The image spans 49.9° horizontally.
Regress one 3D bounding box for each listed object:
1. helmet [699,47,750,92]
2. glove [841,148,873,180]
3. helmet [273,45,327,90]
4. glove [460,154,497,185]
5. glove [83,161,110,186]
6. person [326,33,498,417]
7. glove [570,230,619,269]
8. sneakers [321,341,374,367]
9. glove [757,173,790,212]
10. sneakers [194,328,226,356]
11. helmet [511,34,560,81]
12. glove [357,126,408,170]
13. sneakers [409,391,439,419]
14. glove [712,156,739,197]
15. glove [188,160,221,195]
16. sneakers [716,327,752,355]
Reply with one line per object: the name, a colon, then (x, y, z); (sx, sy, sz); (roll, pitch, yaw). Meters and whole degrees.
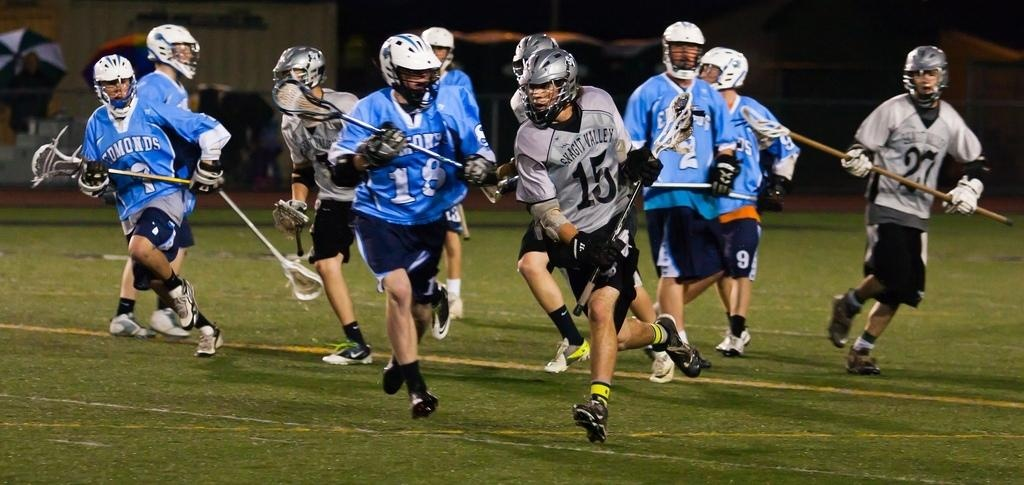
helmet: (2.548, -2.090, 13.490); (0.658, 0.395, 0.441); (4, 7, -19)
glove: (4.040, -0.945, 12.858); (0.350, 0.345, 0.312); (5, 8, 8)
helmet: (-2.565, -2.104, 13.273); (0.578, 0.414, 0.655); (5, 18, 26)
glove: (-0.327, -0.746, 11.535); (0.419, 0.187, 0.281); (22, 0, 4)
glove: (-4.880, -0.813, 12.932); (0.292, 0.269, 0.095); (6, 9, 17)
person: (-1.071, -0.399, 11.677); (1.186, 3.568, 1.110); (13, 12, 43)
glove: (0.885, 0.085, 11.568); (0.527, 0.374, 0.387); (3, 8, -2)
sneakers: (-1.844, 1.300, 12.682); (0.697, 0.212, 0.216); (0, 4, -4)
glove: (3.246, -0.588, 13.756); (0.275, 0.249, 0.623); (13, -14, 5)
sneakers: (-3.502, 1.145, 12.784); (0.278, 0.343, 0.209); (2, 9, -13)
helmet: (0.396, -2.181, 13.106); (0.729, 0.451, 0.466); (1, -8, -9)
glove: (-1.334, -0.962, 11.353); (0.597, 0.257, 0.393); (-14, -27, -50)
sneakers: (-0.903, 1.663, 11.249); (0.317, 0.220, 0.284); (-23, -31, 38)
glove: (2.492, -0.785, 12.841); (0.298, 0.475, 0.203); (5, 9, 8)
glove: (-3.575, -0.768, 12.952); (0.387, 0.341, 0.434); (1, 2, -33)
sneakers: (2.686, 1.225, 13.320); (0.233, 0.158, 0.456); (-3, 4, 33)
